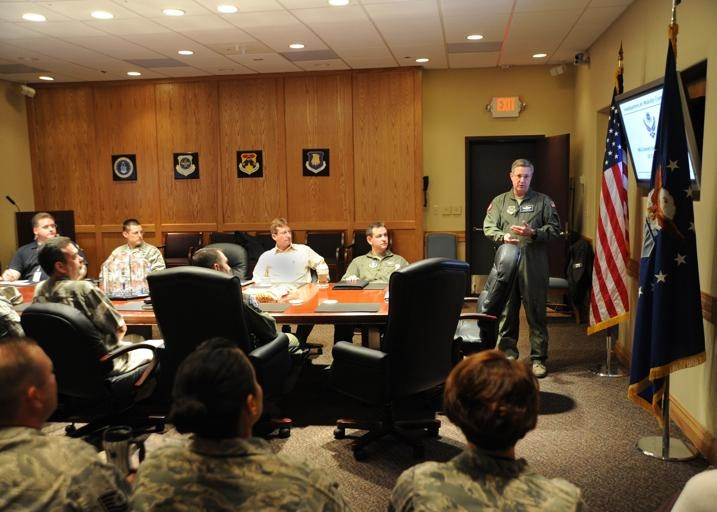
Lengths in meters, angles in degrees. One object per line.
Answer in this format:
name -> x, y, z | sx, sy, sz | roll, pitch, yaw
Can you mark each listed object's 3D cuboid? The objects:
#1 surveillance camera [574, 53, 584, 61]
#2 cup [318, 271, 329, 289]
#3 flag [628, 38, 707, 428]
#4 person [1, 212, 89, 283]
surveillance camera -> 2.671, -2.389, 6.800 | 0.064, 0.090, 0.128 | -9, 13, -36
cup -> -0.334, 0.231, 5.351 | 0.113, 0.113, 0.109 | 1, -4, 0
flag -> 1.983, -0.120, 3.558 | 0.405, 2.324, 0.537 | 2, 11, 15
person -> -3.246, -0.095, 5.671 | 0.915, 0.699, 0.528 | -2, -6, -35
